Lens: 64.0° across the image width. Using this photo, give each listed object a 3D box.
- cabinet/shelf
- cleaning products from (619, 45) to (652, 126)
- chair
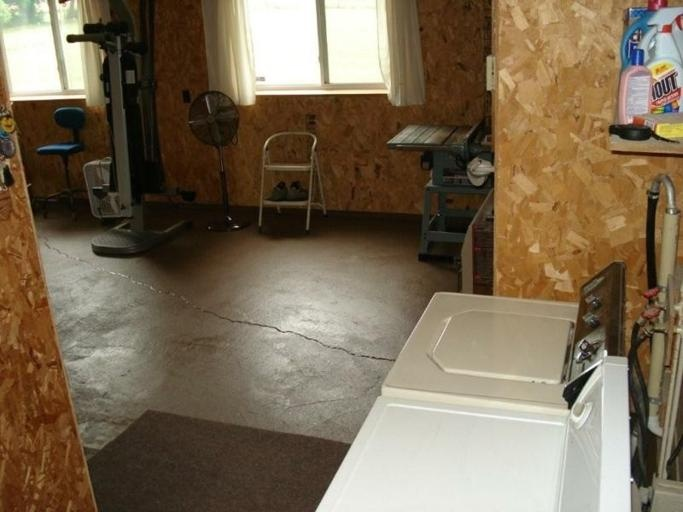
[{"bbox_3d":[-0.568,-0.826,5.896,0.627,1.029,0.629,2,7,2],"label":"cabinet/shelf"},{"bbox_3d":[0.880,-0.500,1.617,0.084,0.233,0.051,-3,40,22],"label":"cleaning products"},{"bbox_3d":[-3.239,-1.151,6.426,0.575,1.149,0.629,-3,17,-15],"label":"chair"}]
